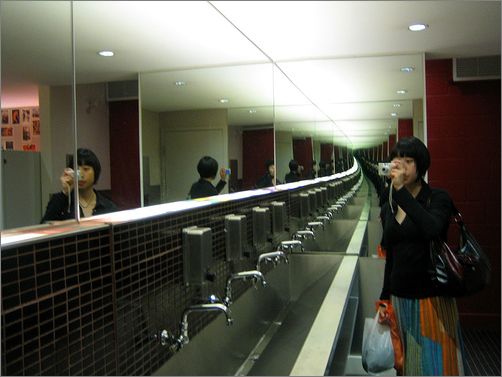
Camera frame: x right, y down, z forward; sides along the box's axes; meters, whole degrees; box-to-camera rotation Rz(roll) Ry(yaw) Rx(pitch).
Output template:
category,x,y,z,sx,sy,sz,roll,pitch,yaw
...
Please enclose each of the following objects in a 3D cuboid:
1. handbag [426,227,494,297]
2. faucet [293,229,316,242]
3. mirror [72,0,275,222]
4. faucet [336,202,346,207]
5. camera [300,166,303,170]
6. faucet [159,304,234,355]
category,x,y,z,sx,sy,sz,roll,pitch,yaw
handbag,0.908,0.318,1.812,0.258,0.295,0.129,-3,7,-8
faucet,0.377,0.334,2.898,0.149,0.073,0.159,1,1,6
mirror,-0.312,-0.329,1.717,0.017,0.830,1.091,-7,-1,28
faucet,0.860,0.149,3.962,0.025,0.046,0.119,3,-16,-18
camera,0.429,-0.174,3.490,0.017,0.036,0.033,-10,-11,40
faucet,-0.206,0.499,1.506,0.268,0.155,0.136,-4,8,-9
